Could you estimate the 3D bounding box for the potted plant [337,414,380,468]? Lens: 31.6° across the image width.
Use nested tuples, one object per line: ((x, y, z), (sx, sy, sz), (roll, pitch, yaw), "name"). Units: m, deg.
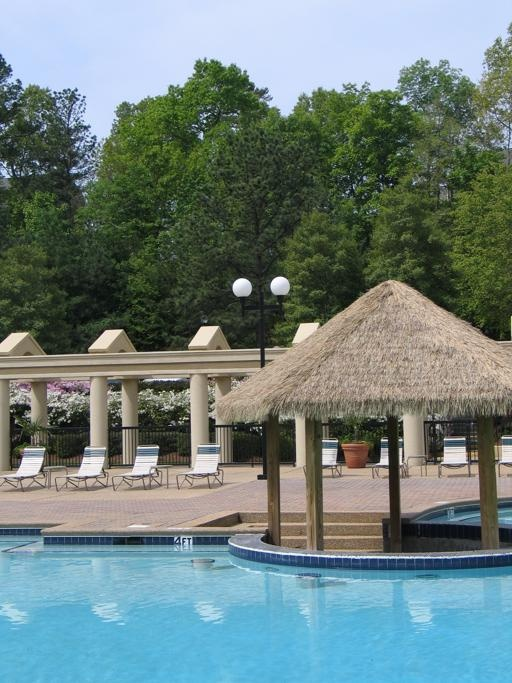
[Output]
((2.747, 2.663, 24.199), (0.692, 1.322, 0.946), (-8, -10, 43), "potted plant")
